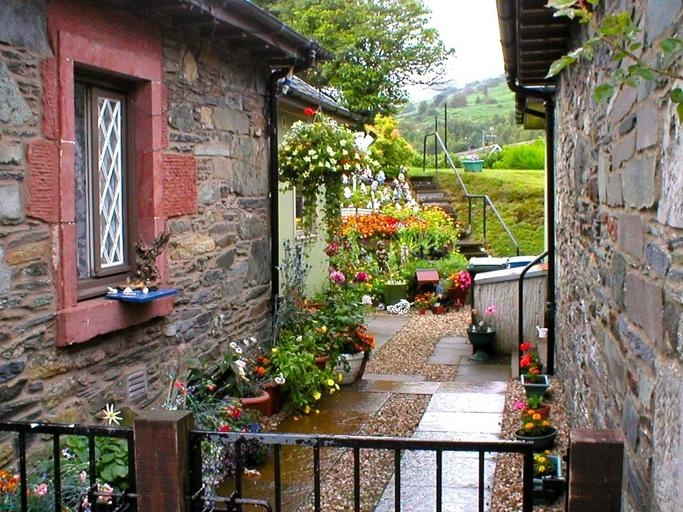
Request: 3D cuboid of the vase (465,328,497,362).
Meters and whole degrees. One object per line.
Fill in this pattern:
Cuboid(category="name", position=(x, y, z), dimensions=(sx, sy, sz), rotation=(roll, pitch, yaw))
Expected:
Cuboid(category="vase", position=(1.680, 1.069, 6.988), dimensions=(0.359, 0.295, 0.373), rotation=(0, -4, 2))

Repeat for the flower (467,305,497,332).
Cuboid(category="flower", position=(1.681, 0.734, 6.977), dimensions=(0.296, 0.307, 0.308), rotation=(1, 2, 36))
